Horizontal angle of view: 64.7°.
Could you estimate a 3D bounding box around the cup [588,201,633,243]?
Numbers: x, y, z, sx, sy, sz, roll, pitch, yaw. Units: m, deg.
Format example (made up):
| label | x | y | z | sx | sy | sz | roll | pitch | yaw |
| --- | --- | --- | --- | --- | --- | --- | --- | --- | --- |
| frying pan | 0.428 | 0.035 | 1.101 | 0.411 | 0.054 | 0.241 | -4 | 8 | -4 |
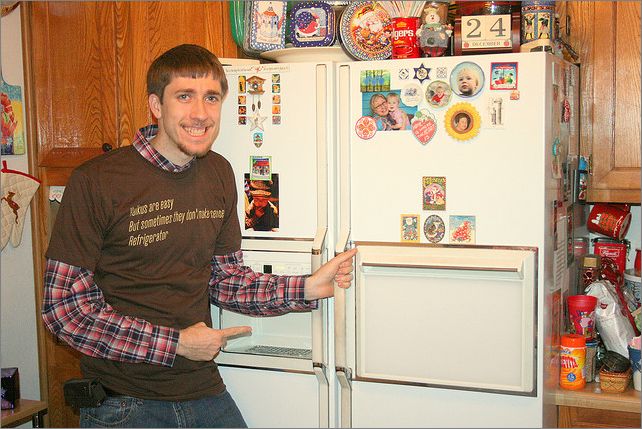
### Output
| label | x | y | z | sx | sy | sz | roll | pitch | yaw |
| --- | --- | --- | --- | --- | --- | --- | --- | --- | --- |
| cup | 1.479 | 0.023 | 2.593 | 0.165 | 0.135 | 0.228 | 23 | 46 | 22 |
